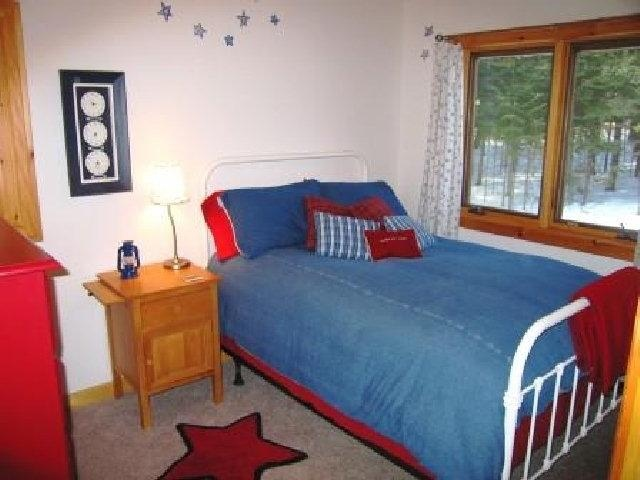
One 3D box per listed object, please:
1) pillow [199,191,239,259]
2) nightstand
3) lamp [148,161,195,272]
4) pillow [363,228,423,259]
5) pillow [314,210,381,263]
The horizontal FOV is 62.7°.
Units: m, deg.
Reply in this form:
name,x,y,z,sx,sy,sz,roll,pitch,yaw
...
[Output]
name,x,y,z,sx,sy,sz,roll,pitch,yaw
pillow,-0.769,-0.120,3.984,0.165,0.410,0.698,-4,22,-14
nightstand,-1.019,0.644,3.355,0.869,0.889,0.682,-3,14,-16
lamp,-1.011,-0.164,3.520,0.243,0.685,0.426,-5,13,-15
pillow,0.483,0.022,3.612,0.239,0.069,0.250,-2,26,-8
pillow,0.163,-0.068,3.571,0.332,0.360,0.087,1,-25,-6
